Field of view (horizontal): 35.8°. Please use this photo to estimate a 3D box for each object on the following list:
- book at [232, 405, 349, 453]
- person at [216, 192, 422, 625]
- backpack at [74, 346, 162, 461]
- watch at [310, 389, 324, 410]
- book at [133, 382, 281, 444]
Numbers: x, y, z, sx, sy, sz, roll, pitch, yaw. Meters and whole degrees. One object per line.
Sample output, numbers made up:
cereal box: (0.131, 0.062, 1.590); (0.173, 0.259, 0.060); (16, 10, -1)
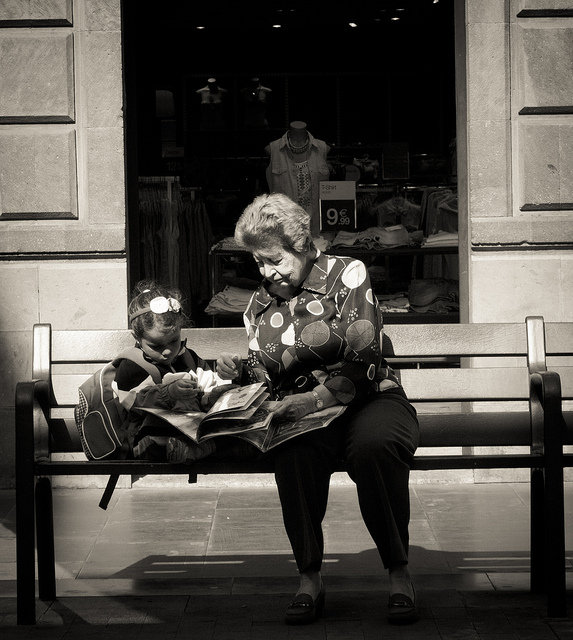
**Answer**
book: (0.037, 0.349, 2.923); (0.232, 0.080, 0.176); (-24, 16, -37)
person: (0.158, 0.265, 3.125); (0.592, 1.452, 0.759); (-3, 4, -34)
backpack: (-0.585, 0.306, 3.201); (0.344, 0.347, 0.320); (1, 4, 35)
watch: (0.111, 0.267, 3.034); (0.030, 0.054, 0.044); (-30, 25, -15)
book: (-0.250, 0.312, 2.965); (0.463, 0.171, 0.293); (-1, 3, -4)
